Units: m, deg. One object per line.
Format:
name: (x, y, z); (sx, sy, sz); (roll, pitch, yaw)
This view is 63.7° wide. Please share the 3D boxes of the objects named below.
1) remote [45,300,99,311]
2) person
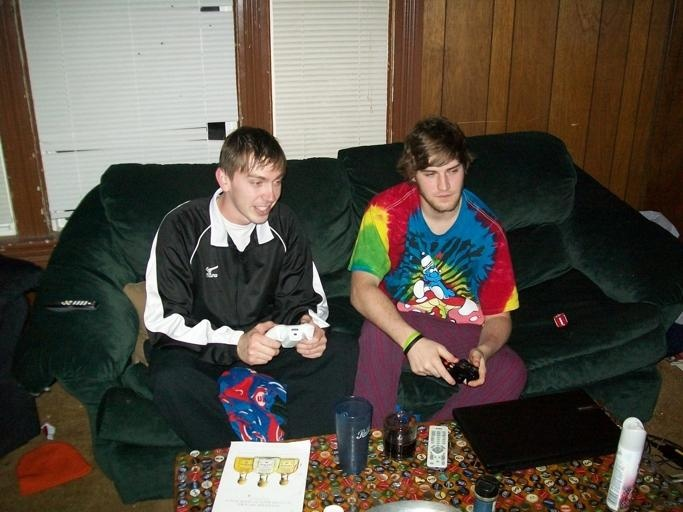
remote: (-1.117, 0.205, 2.260); (0.133, 0.030, 0.073); (1, 8, -19)
person: (-0.037, 0.091, 2.229); (1.569, 1.199, 0.690); (-2, 21, -4)
